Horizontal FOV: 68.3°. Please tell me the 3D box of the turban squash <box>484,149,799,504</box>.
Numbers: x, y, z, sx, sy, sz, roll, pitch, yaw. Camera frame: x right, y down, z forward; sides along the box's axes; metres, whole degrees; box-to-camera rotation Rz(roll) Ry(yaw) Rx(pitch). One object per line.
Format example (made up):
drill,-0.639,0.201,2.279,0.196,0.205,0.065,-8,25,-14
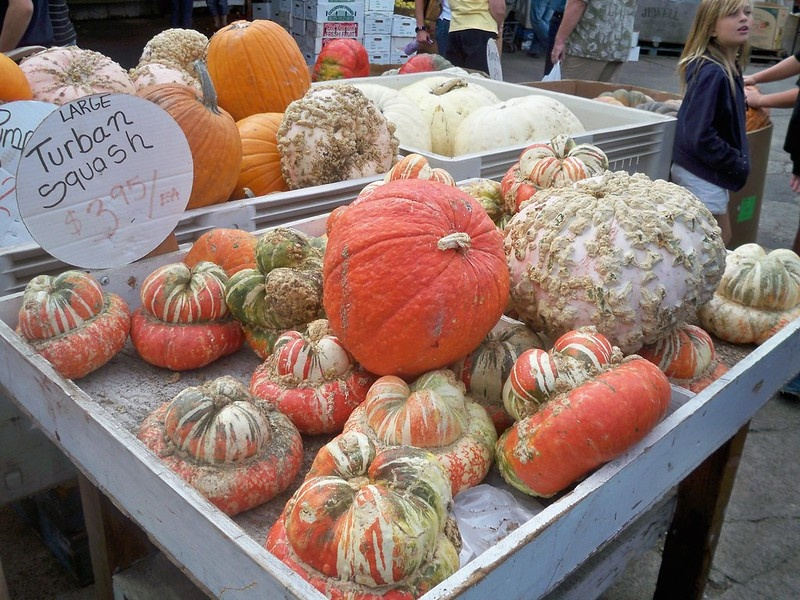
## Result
turban squash,0.626,0.104,1.579,0.890,0.372,0.570,-40,36,-9
